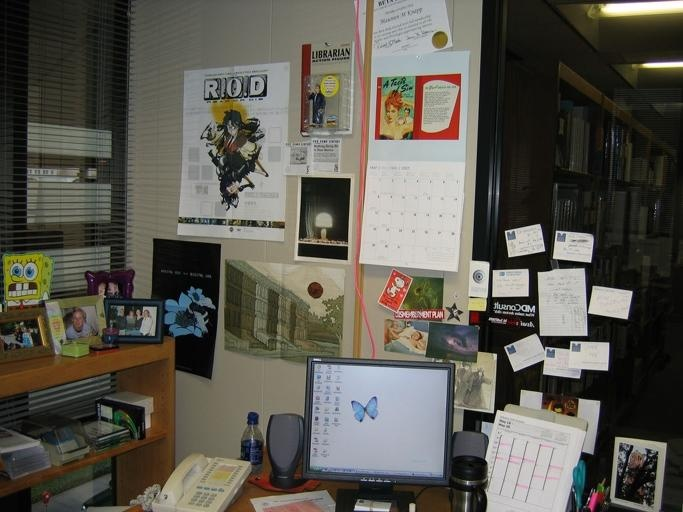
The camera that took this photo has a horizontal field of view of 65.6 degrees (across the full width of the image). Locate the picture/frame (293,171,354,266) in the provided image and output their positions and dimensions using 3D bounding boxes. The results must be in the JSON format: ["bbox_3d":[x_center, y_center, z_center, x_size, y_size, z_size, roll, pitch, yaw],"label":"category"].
[{"bbox_3d":[-0.071,-0.180,2.438,0.359,0.581,0.008,2,2,27],"label":"picture/frame"}]

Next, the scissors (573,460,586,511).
[{"bbox_3d":[0.844,0.815,1.884,0.028,0.187,0.175,2,3,29],"label":"scissors"}]

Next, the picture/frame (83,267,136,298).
[{"bbox_3d":[-1.159,0.134,2.626,0.135,0.161,0.023,0,-6,-26],"label":"picture/frame"}]

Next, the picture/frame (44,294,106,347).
[{"bbox_3d":[-1.205,0.300,2.386,0.020,0.183,0.192,-17,-5,42],"label":"picture/frame"}]

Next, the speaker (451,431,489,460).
[{"bbox_3d":[0.491,0.727,2.030,0.101,0.112,0.029,6,-9,8],"label":"speaker"}]
